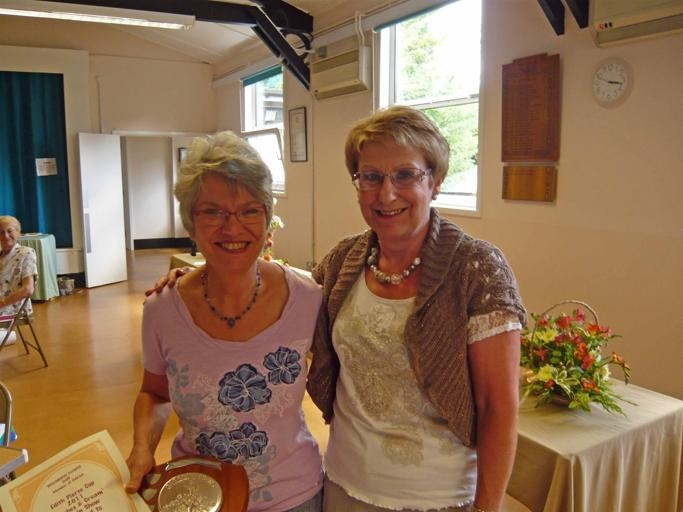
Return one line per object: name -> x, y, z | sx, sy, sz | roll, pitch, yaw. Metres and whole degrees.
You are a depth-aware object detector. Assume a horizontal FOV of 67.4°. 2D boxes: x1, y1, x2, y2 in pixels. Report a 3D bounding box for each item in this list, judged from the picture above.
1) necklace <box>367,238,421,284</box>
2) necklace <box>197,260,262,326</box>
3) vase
necklace -> 0.158, 0.030, 1.882 | 0.127, 0.158, 0.032 | -8, -21, 25
necklace -> -0.403, 0.143, 1.856 | 0.221, 0.337, 0.026 | 0, -9, -6
vase -> 1.189, 0.477, 2.729 | 0.466, 0.434, 0.449 | 11, -7, -40
